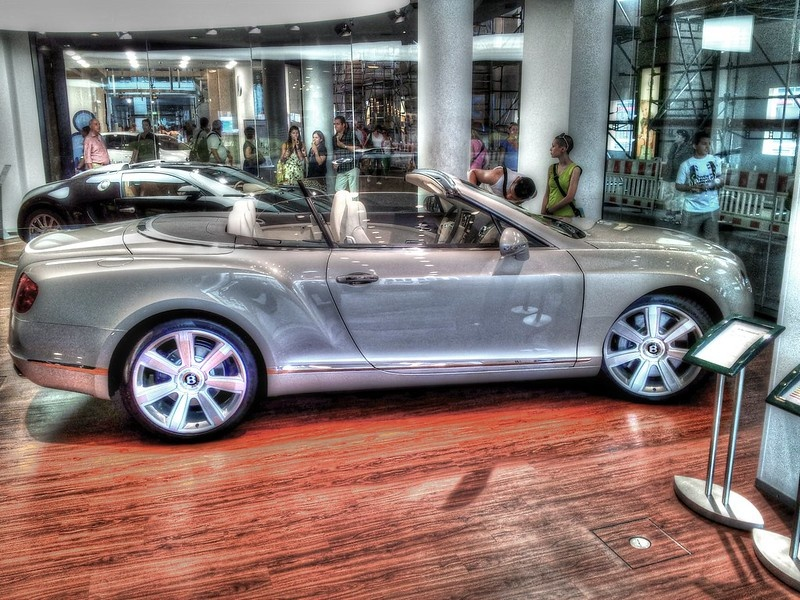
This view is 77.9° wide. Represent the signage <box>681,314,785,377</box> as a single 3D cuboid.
[{"bbox_3d":[1.588,0.214,2.393,0.442,0.181,0.284,-14,22,-30],"label":"signage"}]

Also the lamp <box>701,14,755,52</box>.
[{"bbox_3d":[4.468,-3.692,6.860,0.350,0.516,0.728,-9,20,-17],"label":"lamp"}]

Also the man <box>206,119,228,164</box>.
[{"bbox_3d":[-4.178,-3.617,11.254,0.436,0.949,0.214,-13,23,-28],"label":"man"}]

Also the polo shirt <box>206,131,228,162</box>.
[{"bbox_3d":[-4.179,-3.542,11.235,0.282,0.473,0.486,-10,35,-12],"label":"polo shirt"}]

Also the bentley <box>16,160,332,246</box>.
[{"bbox_3d":[-4.028,-1.853,8.712,4.995,1.434,2.401,-1,16,-2],"label":"bentley"}]

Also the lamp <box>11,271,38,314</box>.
[{"bbox_3d":[-2.281,-0.040,3.007,0.234,0.214,0.127,16,27,42],"label":"lamp"}]

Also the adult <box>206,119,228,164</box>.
[{"bbox_3d":[-4.178,-3.617,11.254,0.436,0.949,0.214,-13,23,-28],"label":"adult"}]

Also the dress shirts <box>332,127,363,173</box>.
[{"bbox_3d":[-1.246,-3.564,11.427,0.803,0.998,0.558,11,42,28],"label":"dress shirts"}]

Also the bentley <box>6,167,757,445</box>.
[{"bbox_3d":[-0.439,0.097,4.543,5.359,1.872,2.634,-2,12,-12],"label":"bentley"}]

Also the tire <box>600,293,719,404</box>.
[{"bbox_3d":[1.793,0.301,3.442,0.763,0.763,0.266,-2,8,-1],"label":"tire"}]

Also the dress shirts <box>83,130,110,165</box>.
[{"bbox_3d":[-6.528,-3.302,10.603,0.360,0.644,0.643,-4,22,6],"label":"dress shirts"}]
